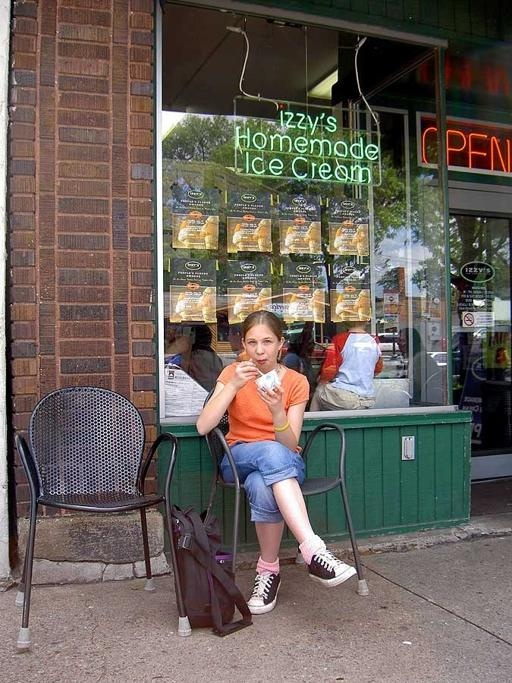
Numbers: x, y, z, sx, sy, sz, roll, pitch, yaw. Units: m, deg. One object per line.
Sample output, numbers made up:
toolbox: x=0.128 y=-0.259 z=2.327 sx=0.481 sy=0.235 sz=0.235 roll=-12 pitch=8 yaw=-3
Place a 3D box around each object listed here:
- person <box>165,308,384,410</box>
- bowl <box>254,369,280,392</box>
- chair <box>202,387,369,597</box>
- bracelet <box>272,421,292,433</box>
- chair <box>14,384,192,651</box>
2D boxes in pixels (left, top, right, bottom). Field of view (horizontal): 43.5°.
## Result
person: x=0.267 y=0.109 z=3.760 sx=0.873 sy=0.466 sz=0.512 roll=-2 pitch=-4 yaw=-12
bowl: x=0.044 y=0.145 z=2.377 sx=0.086 sy=0.076 sz=0.051 roll=1 pitch=0 yaw=-5
chair: x=0.089 y=0.606 z=2.771 sx=0.537 sy=0.902 sz=0.615 roll=-1 pitch=-4 yaw=-24
bracelet: x=0.098 y=0.339 z=2.541 sx=0.055 sy=0.047 sz=0.065 roll=1 pitch=0 yaw=11
chair: x=-0.584 y=0.605 z=2.426 sx=0.677 sy=0.931 sz=0.657 roll=-2 pitch=-10 yaw=-2
